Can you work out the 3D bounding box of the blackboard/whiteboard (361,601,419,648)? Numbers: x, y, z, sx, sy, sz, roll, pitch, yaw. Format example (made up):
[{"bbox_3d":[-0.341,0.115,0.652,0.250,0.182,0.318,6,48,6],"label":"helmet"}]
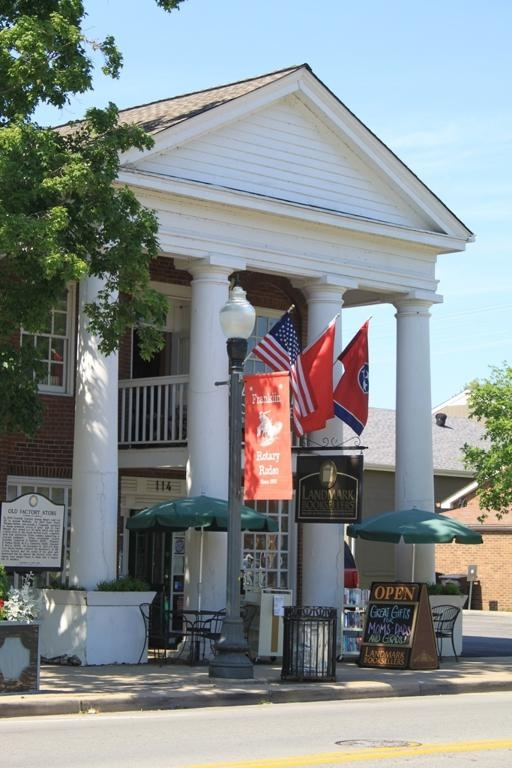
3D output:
[{"bbox_3d":[1.805,3.195,16.982,0.655,0.825,0.080,3,-14,29],"label":"blackboard/whiteboard"}]

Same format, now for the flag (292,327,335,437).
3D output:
[{"bbox_3d":[0.836,-0.140,17.577,0.649,1.952,0.196,-6,-39,4],"label":"flag"}]

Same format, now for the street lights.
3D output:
[{"bbox_3d":[-0.258,1.021,14.779,0.548,4.162,0.545,0,-3,-8],"label":"street lights"}]

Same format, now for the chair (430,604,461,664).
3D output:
[{"bbox_3d":[2.712,3.766,19.489,0.617,0.834,0.625,9,-7,4],"label":"chair"}]
